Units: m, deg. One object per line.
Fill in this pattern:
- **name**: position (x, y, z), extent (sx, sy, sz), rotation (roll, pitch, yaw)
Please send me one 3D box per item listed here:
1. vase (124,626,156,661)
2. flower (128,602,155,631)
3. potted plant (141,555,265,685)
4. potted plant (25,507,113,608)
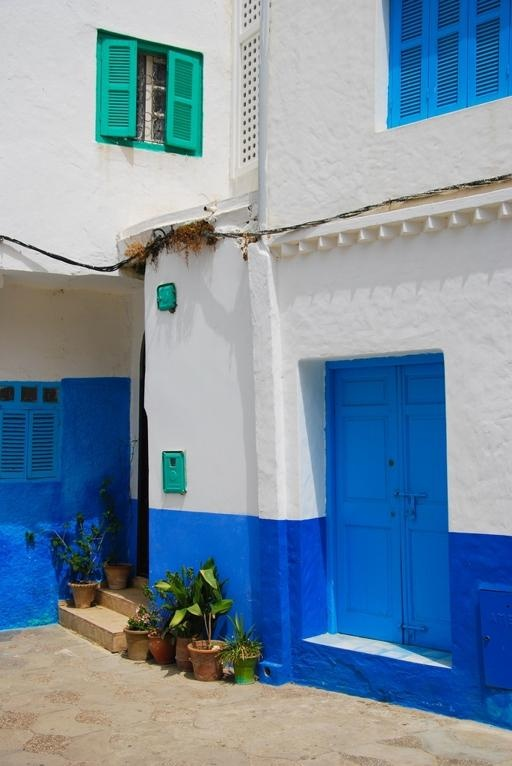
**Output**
- **vase**: position (-1.029, 2.290, 6.339), extent (0.233, 0.233, 0.245), rotation (-6, -11, 33)
- **flower**: position (-0.997, 2.073, 6.383), extent (0.199, 0.214, 0.218), rotation (-4, -10, 27)
- **potted plant**: position (-0.401, 1.924, 5.660), extent (0.683, 0.821, 1.007), rotation (2, -4, -15)
- **potted plant**: position (-2.090, 1.989, 8.119), extent (0.952, 1.012, 0.494), rotation (1, -5, -25)
